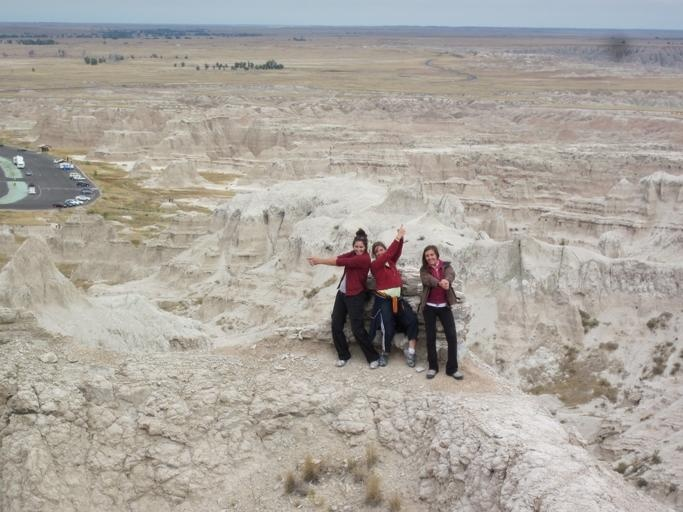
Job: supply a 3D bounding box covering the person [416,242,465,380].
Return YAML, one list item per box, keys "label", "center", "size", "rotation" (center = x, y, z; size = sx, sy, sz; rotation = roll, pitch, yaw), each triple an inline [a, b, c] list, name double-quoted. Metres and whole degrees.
- label: "person"
  center: [1.803, 1.000, 11.037]
  size: [0.821, 2.196, 1.276]
  rotation: [2, 24, 5]

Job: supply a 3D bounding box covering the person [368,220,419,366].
- label: "person"
  center: [0.949, 0.705, 11.355]
  size: [0.876, 2.556, 1.279]
  rotation: [-4, 25, -8]

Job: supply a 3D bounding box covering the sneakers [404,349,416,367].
- label: "sneakers"
  center: [1.303, 1.898, 11.382]
  size: [0.161, 0.325, 0.141]
  rotation: [-30, -19, 36]

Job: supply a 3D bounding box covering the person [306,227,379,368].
- label: "person"
  center: [0.183, 0.787, 11.471]
  size: [0.967, 2.464, 1.097]
  rotation: [-2, 25, -2]

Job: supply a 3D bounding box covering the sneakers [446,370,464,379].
- label: "sneakers"
  center: [2.041, 2.122, 10.951]
  size: [0.288, 0.128, 0.177]
  rotation: [-4, 22, -8]

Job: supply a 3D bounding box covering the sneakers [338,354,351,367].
- label: "sneakers"
  center: [0.037, 1.976, 11.591]
  size: [0.150, 0.091, 0.253]
  rotation: [6, 25, 30]

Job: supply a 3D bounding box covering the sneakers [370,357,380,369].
- label: "sneakers"
  center: [0.619, 2.005, 11.403]
  size: [0.125, 0.065, 0.186]
  rotation: [2, 14, 15]

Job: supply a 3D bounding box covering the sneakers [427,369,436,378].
- label: "sneakers"
  center: [1.602, 2.096, 10.978]
  size: [0.158, 0.142, 0.196]
  rotation: [8, 23, 19]

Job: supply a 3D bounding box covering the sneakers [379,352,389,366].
- label: "sneakers"
  center: [0.774, 1.930, 11.395]
  size: [0.128, 0.107, 0.304]
  rotation: [1, 11, 6]
